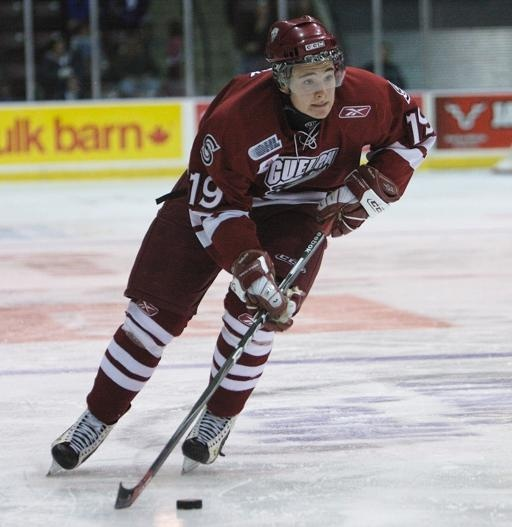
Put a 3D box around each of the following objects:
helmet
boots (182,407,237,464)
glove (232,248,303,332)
[{"bbox_3d":[0.117,-0.499,1.760,0.165,0.174,0.147,-2,14,-10],"label":"helmet"},{"bbox_3d":[-0.118,0.429,1.909,0.074,0.070,0.184,33,24,0],"label":"boots"},{"bbox_3d":[0.012,0.061,1.766,0.146,0.199,0.088,-36,22,4],"label":"glove"}]
